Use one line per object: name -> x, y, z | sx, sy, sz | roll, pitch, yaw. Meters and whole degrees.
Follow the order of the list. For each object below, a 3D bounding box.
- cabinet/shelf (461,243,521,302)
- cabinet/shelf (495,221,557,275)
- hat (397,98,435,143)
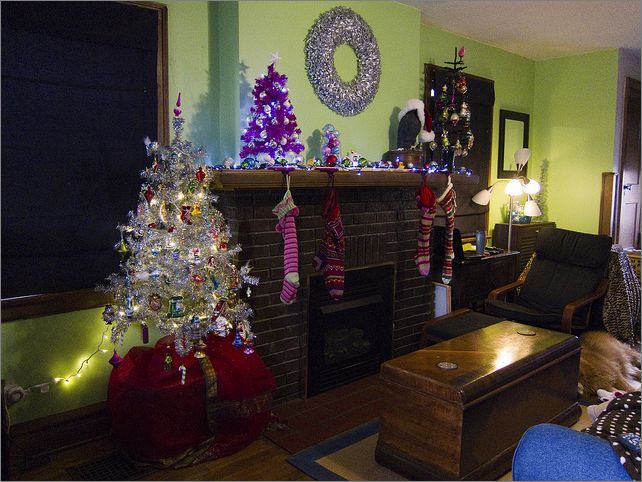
cabinet/shelf -> 1.547, 0.380, 4.719 | 0.818, 0.510, 0.260 | -9, 14, -32
cabinet/shelf -> 2.521, 0.139, 5.901 | 0.816, 0.759, 0.300 | -6, 12, -33
hat -> 0.773, -0.964, 3.958 | 0.290, 0.400, 0.178 | 1, 10, 9
